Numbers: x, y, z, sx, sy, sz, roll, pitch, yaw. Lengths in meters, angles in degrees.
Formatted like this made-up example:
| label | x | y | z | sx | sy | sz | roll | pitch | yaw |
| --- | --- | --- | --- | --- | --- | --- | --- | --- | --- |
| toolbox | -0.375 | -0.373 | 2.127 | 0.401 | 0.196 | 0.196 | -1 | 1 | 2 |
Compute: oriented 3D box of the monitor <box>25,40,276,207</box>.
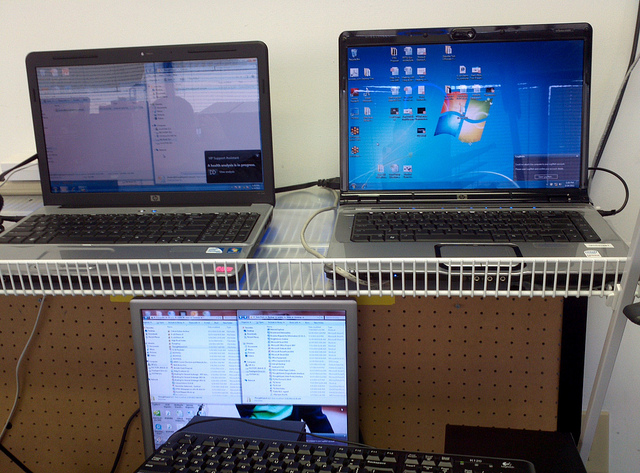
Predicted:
| label | x | y | z | sx | sy | sz | roll | pitch | yaw |
| --- | --- | --- | --- | --- | --- | --- | --- | --- | --- |
| monitor | -0.373 | -0.248 | 1.316 | 0.562 | 0.370 | 0.373 | 0 | 24 | -1 |

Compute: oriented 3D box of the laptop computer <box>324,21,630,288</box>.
| label | x | y | z | sx | sy | sz | roll | pitch | yaw |
| --- | --- | --- | --- | --- | --- | --- | --- | --- | --- |
| laptop computer | 0.300 | -0.208 | 1.087 | 0.563 | 0.419 | 0.384 | 1 | 18 | 0 |

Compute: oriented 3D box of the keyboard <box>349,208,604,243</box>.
| label | x | y | z | sx | sy | sz | roll | pitch | yaw |
| --- | --- | --- | --- | --- | --- | --- | --- | --- | --- |
| keyboard | 0.297 | -0.024 | 1.102 | 0.481 | 0.042 | 0.186 | 3 | 18 | 6 |

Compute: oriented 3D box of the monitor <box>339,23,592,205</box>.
| label | x | y | z | sx | sy | sz | roll | pitch | yaw |
| --- | --- | --- | --- | --- | --- | --- | --- | --- | --- |
| monitor | 0.333 | -0.258 | 1.336 | 0.623 | 0.429 | 0.366 | 1 | 15 | 4 |

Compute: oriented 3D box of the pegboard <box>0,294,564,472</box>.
| label | x | y | z | sx | sy | sz | roll | pitch | yaw |
| --- | --- | --- | --- | --- | --- | --- | --- | --- | --- |
| pegboard | -0.030 | 0.299 | 1.802 | 1.619 | 0.454 | 0.934 | 1 | 6 | 7 |

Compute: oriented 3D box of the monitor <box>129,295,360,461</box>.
| label | x | y | z | sx | sy | sz | roll | pitch | yaw |
| --- | --- | --- | --- | --- | --- | --- | --- | --- | --- |
| monitor | -0.149 | 0.239 | 1.289 | 0.495 | 0.431 | 0.364 | 1 | 13 | 3 |
